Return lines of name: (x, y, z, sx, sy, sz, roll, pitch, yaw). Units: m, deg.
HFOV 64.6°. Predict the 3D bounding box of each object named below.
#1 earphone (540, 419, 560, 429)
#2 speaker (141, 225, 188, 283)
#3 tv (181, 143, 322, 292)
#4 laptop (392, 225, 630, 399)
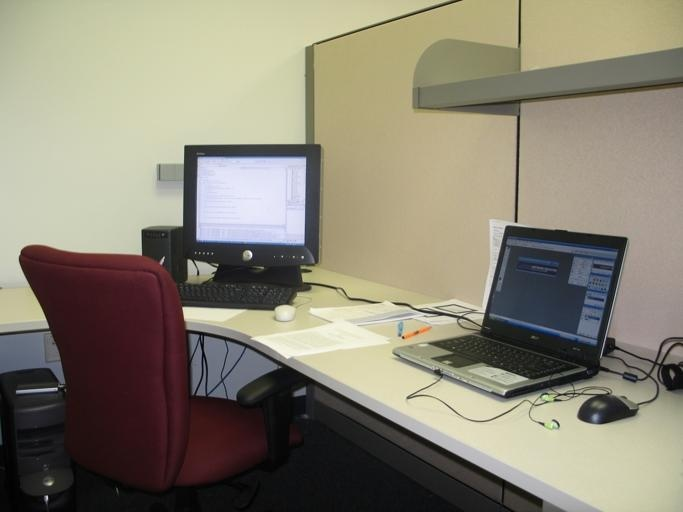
earphone: (0.456, 0.367, 1.171, 0.027, 0.011, 0.019, -8, 7, -12)
speaker: (-0.757, 0.005, 2.282, 0.173, 0.258, 0.177, -2, 5, -32)
tv: (-0.340, -0.175, 2.294, 0.578, 0.584, 0.331, 1, 2, 13)
laptop: (0.443, 0.122, 1.448, 0.513, 0.332, 0.509, -6, 7, -17)
